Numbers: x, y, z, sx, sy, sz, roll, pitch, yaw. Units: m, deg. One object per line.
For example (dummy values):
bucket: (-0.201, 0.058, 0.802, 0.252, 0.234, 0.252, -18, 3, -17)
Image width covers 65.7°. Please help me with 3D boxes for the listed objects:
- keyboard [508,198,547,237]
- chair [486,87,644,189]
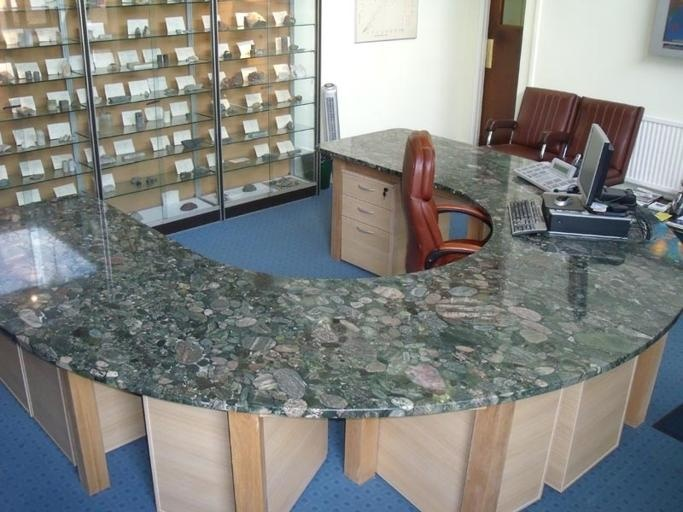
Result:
keyboard: (1.040, -0.228, 2.998, 0.182, 0.050, 0.240, -6, 49, 6)
chair: (2.009, -1.042, 4.621, 0.748, 0.860, 1.321, -30, 41, -32)
